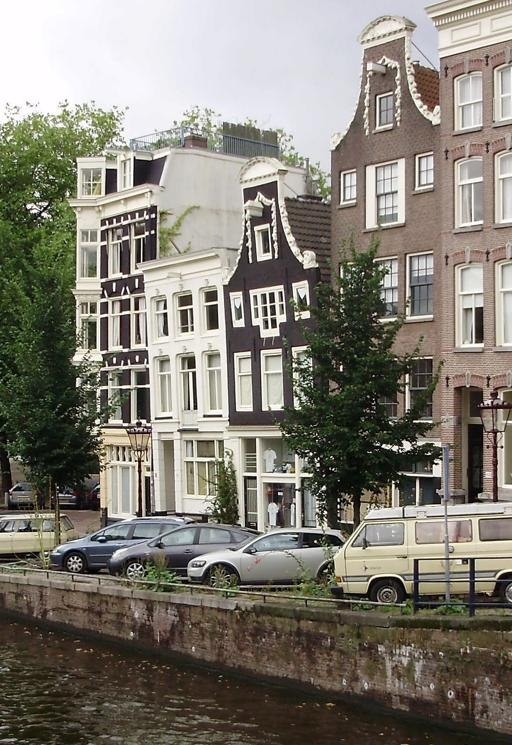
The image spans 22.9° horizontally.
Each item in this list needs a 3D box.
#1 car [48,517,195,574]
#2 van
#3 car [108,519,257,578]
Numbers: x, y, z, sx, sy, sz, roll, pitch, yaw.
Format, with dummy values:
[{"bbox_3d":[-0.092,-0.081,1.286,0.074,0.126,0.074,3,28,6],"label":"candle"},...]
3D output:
[{"bbox_3d":[-3.615,4.283,31.741,3.332,1.208,1.584,-2,-6,17],"label":"car"},{"bbox_3d":[3.016,3.203,22.193,3.172,1.610,1.359,-6,8,30],"label":"van"},{"bbox_3d":[-1.817,3.940,28.491,2.925,0.990,1.341,-1,-6,13],"label":"car"}]
